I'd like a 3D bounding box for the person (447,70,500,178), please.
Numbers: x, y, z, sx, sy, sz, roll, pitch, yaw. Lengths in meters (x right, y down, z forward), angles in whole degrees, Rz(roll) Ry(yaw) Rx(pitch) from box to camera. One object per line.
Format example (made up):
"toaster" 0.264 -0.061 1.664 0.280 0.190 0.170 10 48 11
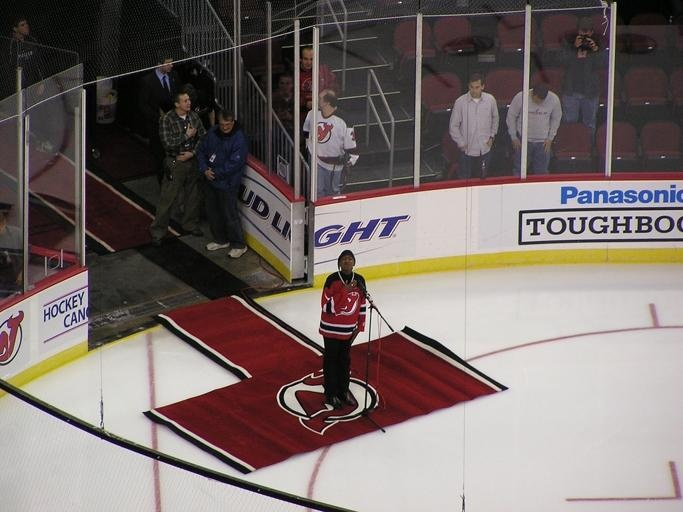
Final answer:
"person" 1.817 -1.701 15.501 0.685 1.327 0.184 -4 12 -2

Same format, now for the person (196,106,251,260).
"person" -1.539 -0.935 15.192 0.670 1.949 0.324 0 12 17

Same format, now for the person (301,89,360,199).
"person" -0.074 -1.456 14.776 0.569 1.382 0.293 -5 12 -9

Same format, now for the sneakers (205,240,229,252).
"sneakers" -1.662 -0.124 15.409 0.228 0.089 0.137 1 14 -17

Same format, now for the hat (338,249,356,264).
"hat" 0.059 0.029 12.417 0.131 0.142 0.175 2 -21 -2

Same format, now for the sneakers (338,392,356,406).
"sneakers" 0.082 1.583 12.590 0.089 0.100 0.256 -6 9 -34

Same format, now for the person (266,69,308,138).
"person" -0.754 -2.022 15.249 0.586 0.802 0.270 4 -5 5

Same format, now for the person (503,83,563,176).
"person" 2.671 -1.704 15.594 0.777 1.236 0.339 -9 13 -24

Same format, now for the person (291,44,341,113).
"person" -0.302 -2.268 14.673 0.494 0.844 0.717 -4 12 -2
